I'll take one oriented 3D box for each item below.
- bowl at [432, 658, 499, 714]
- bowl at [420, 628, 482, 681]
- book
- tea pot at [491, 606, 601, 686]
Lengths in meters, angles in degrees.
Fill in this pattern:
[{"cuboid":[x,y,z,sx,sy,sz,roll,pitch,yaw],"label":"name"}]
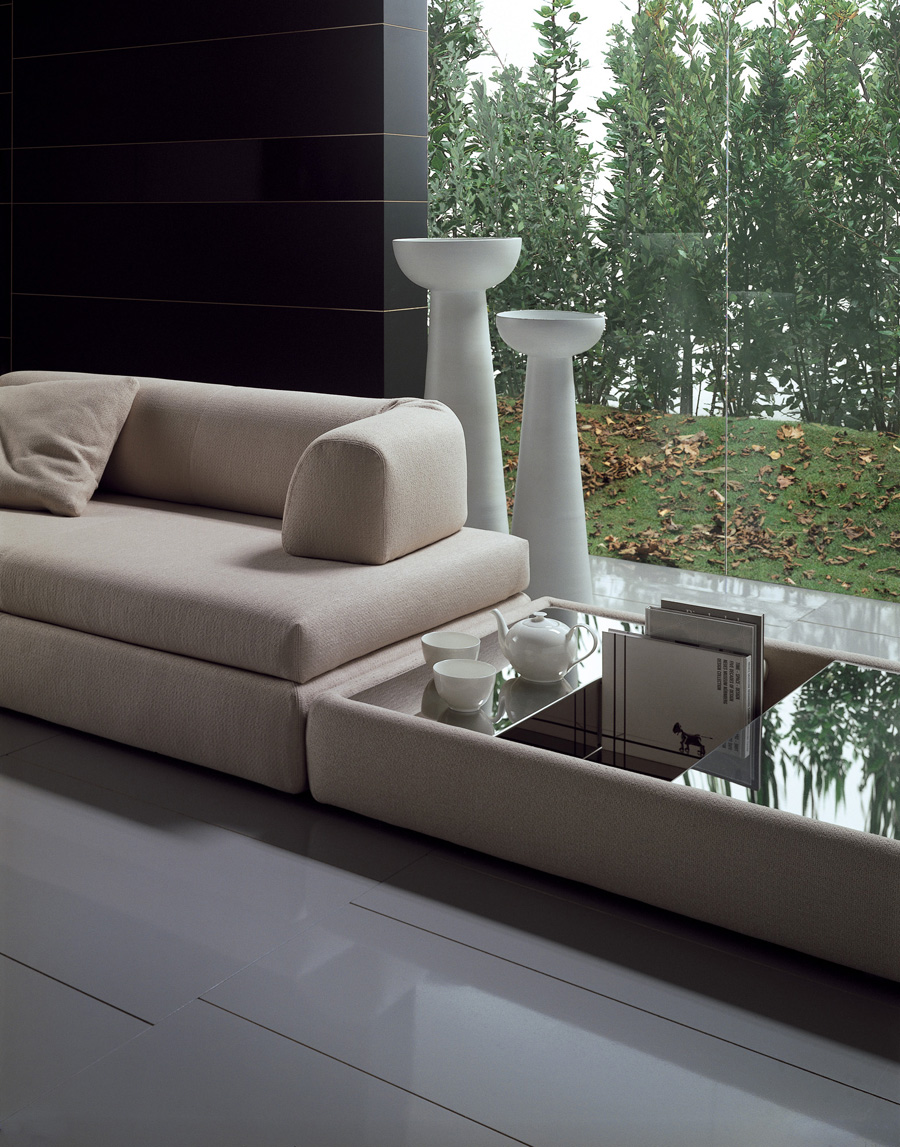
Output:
[{"cuboid":[0.024,0.202,1.653,0.099,0.069,0.099,2,7,0],"label":"bowl"},{"cuboid":[0.000,0.172,1.841,0.087,0.062,0.089,1,6,0],"label":"bowl"},{"cuboid":[0.425,0.231,1.588,0.258,0.287,0.106,6,8,38],"label":"book"},{"cuboid":[0.190,0.150,1.810,0.232,0.152,0.137,7,3,31],"label":"tea pot"}]
